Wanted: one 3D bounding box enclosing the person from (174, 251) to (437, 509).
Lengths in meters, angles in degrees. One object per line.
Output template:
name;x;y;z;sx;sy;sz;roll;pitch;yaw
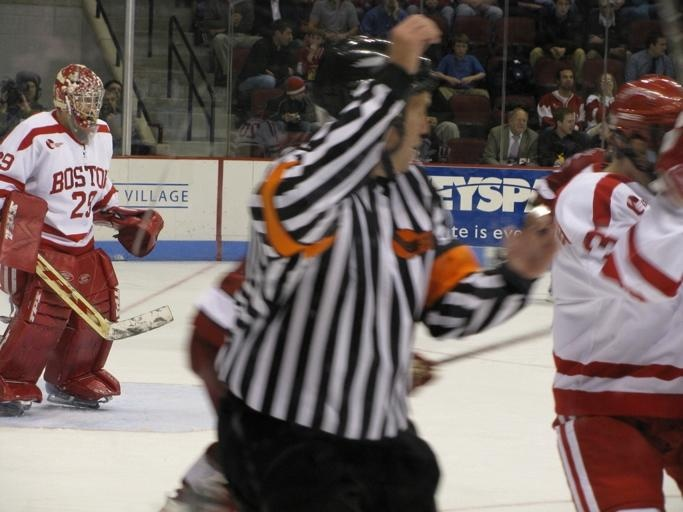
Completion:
person;-0.195;0.456;3.429;0.298;0.860;0.566;17;10;-22

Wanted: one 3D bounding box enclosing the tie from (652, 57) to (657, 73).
tie;3.249;-1.986;11.410;0.071;0.151;0.173;4;12;18

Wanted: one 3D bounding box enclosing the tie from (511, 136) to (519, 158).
tie;1.777;-1.125;11.339;0.122;0.188;0.057;0;-9;24

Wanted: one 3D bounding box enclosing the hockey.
hockey;-1.240;0.223;5.766;0.687;0.478;0.351;-1;12;-7
